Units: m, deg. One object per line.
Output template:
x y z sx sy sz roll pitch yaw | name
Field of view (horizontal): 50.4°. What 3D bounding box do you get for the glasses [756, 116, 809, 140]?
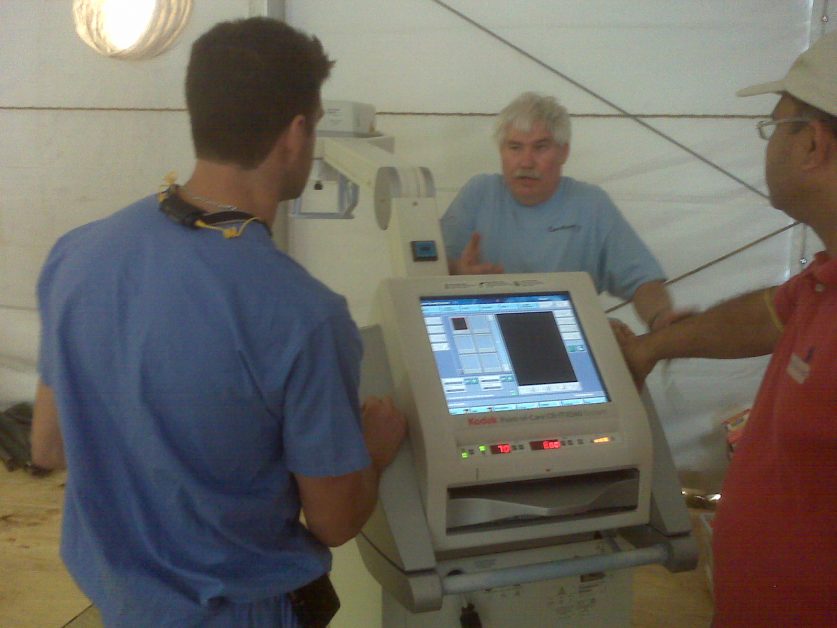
1.121 -0.585 2.751 0.116 0.036 0.116 -1 7 1 | glasses
